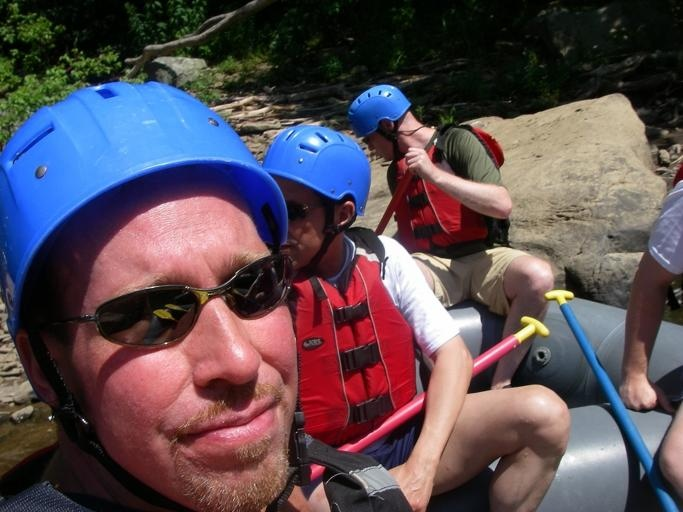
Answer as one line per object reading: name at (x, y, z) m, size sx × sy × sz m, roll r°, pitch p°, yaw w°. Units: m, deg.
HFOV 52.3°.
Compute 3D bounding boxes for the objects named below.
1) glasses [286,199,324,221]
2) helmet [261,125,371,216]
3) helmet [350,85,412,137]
glasses at (-0.179, -0.217, 3.358) m, size 0.107 × 0.046 × 0.136 m, roll -4°, pitch -18°, yaw 12°
helmet at (-0.107, -0.471, 3.578) m, size 0.506 × 0.431 × 0.398 m, roll -6°, pitch 19°, yaw -32°
helmet at (0.264, -1.093, 5.127) m, size 0.424 × 0.244 × 0.330 m, roll -30°, pitch 23°, yaw 20°
